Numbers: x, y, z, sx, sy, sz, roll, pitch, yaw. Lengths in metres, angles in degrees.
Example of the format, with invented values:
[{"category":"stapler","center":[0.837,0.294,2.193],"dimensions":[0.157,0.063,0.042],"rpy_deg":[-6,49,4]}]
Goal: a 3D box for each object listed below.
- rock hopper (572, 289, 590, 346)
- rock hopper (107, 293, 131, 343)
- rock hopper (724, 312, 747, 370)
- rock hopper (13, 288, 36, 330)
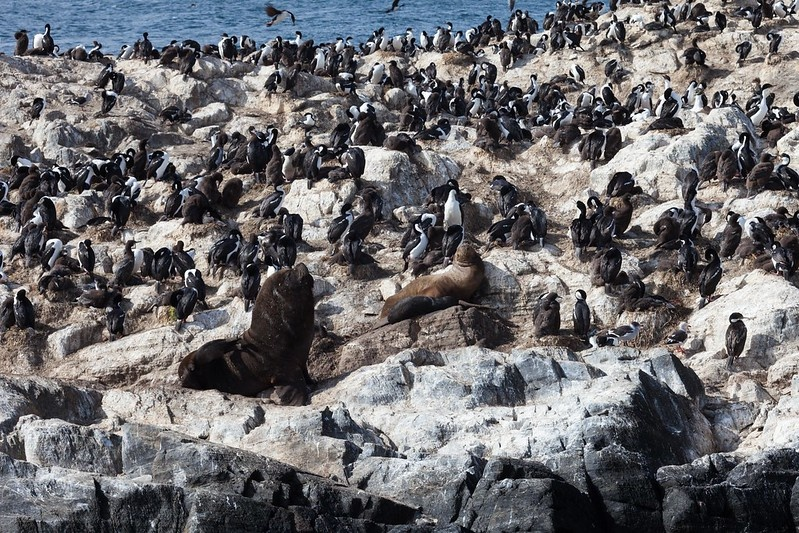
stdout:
[{"category":"rock hopper","center":[4.501,1.135,46.762],"dimensions":[0.396,1.229,0.534],"rpy_deg":[-1,-29,3]},{"category":"rock hopper","center":[-6.922,1.226,47.741],"dimensions":[0.447,0.716,1.187],"rpy_deg":[-4,42,2]},{"category":"rock hopper","center":[8.107,1.818,45.650],"dimensions":[0.497,1.266,0.747],"rpy_deg":[1,8,10]},{"category":"rock hopper","center":[-9.419,1.072,47.817],"dimensions":[0.551,1.003,0.385],"rpy_deg":[-2,8,-18]}]
